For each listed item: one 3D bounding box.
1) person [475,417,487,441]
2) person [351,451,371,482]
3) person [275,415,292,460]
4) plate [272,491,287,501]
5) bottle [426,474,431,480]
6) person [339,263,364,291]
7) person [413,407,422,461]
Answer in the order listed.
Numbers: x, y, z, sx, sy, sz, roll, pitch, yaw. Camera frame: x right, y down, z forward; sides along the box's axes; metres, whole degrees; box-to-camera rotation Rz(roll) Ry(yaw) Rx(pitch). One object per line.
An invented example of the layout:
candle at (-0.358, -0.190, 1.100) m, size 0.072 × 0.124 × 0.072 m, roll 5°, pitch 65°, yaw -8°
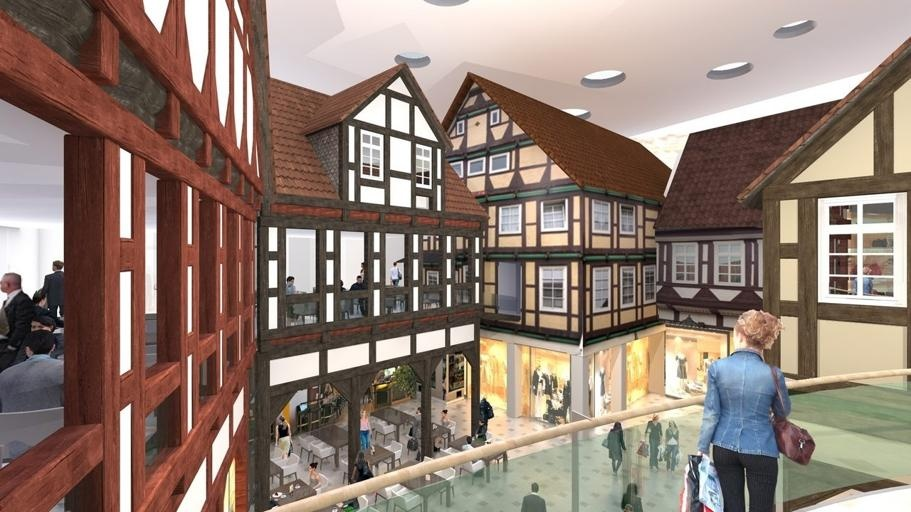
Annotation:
person at (0.909, 5.809, 18.873) m, size 0.295 × 0.691 × 0.701 m, roll -2°, pitch -4°, yaw 12°
person at (-2.556, 5.798, 15.699) m, size 0.502 × 0.744 × 0.851 m, roll 0°, pitch -3°, yaw -9°
person at (-5.249, 5.708, 17.462) m, size 0.359 × 1.004 × 0.664 m, roll 0°, pitch -4°, yaw -21°
plate at (-4.678, 6.517, 15.236) m, size 0.372 × 0.132 × 0.279 m, roll 0°, pitch -3°, yaw -10°
bottle at (-0.448, 3.800, 9.617) m, size 0.090 × 0.128 × 0.110 m, roll -1°, pitch -3°, yaw -4°
person at (-4.155, 0.841, 22.809) m, size 0.752 × 1.204 × 1.323 m, roll -2°, pitch -4°, yaw 17°
person at (-1.133, 5.578, 17.639) m, size 0.261 × 1.575 × 0.553 m, roll -1°, pitch -4°, yaw -3°
